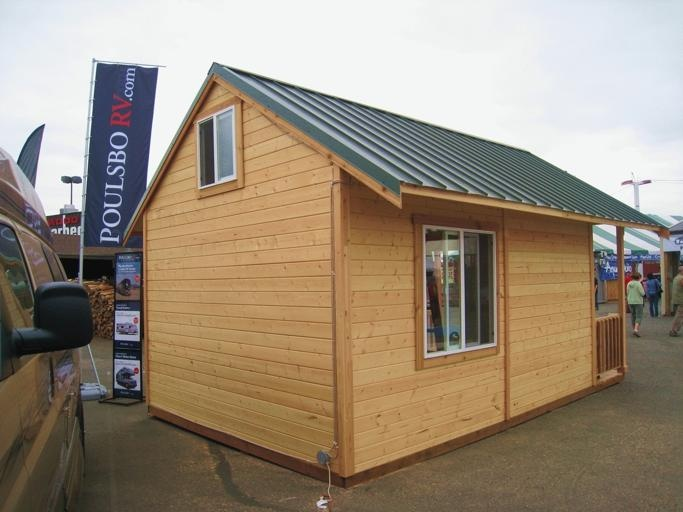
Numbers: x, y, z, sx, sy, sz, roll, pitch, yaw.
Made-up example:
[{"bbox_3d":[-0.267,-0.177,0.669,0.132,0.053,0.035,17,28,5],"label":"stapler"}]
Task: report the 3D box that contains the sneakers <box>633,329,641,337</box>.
[{"bbox_3d":[8.682,2.276,15.563,0.143,0.184,0.435,0,1,41],"label":"sneakers"}]
